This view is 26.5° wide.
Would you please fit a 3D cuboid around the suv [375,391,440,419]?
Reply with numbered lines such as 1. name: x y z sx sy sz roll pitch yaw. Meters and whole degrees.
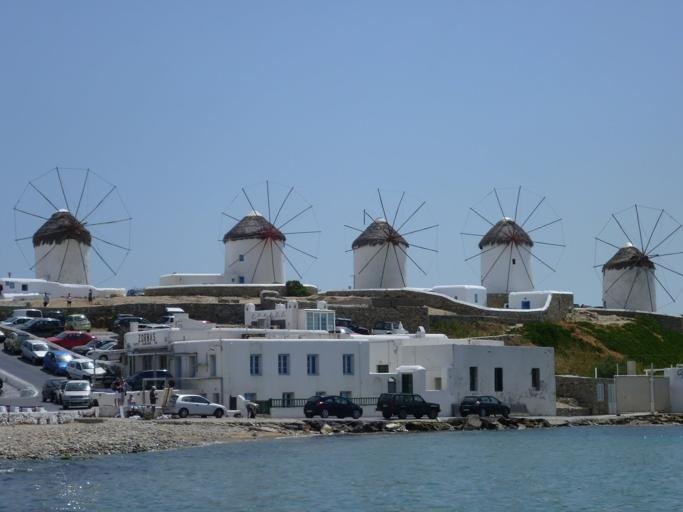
1. suv: 4.126 9.208 89.563 3.274 1.283 1.598 -2 1 -32

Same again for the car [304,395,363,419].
1. car: -0.485 9.153 88.250 2.589 0.977 1.520 -2 1 -25

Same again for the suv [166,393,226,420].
1. suv: -8.493 8.918 86.716 2.926 1.247 1.343 -1 0 -10
